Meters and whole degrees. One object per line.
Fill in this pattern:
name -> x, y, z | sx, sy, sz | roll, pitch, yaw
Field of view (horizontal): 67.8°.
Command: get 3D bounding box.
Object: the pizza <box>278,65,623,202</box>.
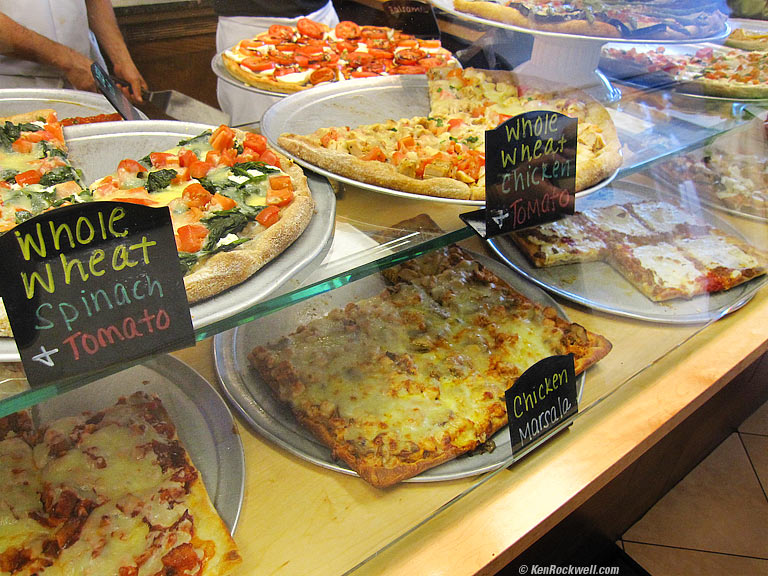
pizza -> 0.149, -0.424, 1.622 | 0.773, 0.109, 0.747 | 24, 38, 33

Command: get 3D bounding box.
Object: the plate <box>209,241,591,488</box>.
plate -> 0.041, 0.181, 1.390 | 0.926, 0.089, 0.634 | -22, 42, -31

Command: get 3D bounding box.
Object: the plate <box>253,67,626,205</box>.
plate -> 0.139, -0.419, 1.685 | 0.830, 0.111, 0.747 | 19, 35, 26
